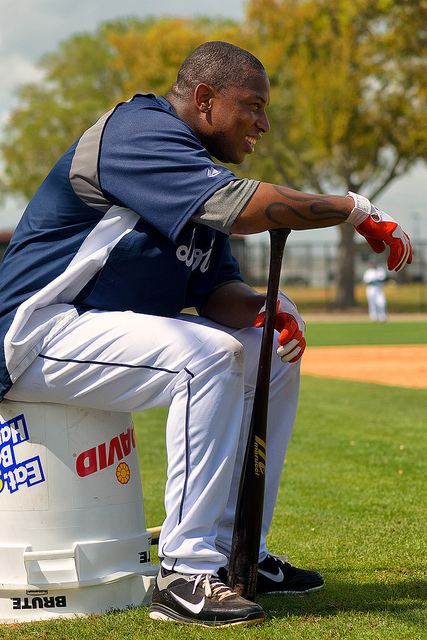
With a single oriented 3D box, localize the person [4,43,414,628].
[{"bbox_3d":[-0.078,-0.001,2.883,0.893,1.518,0.715,-4,6,-27],"label":"person"}]
